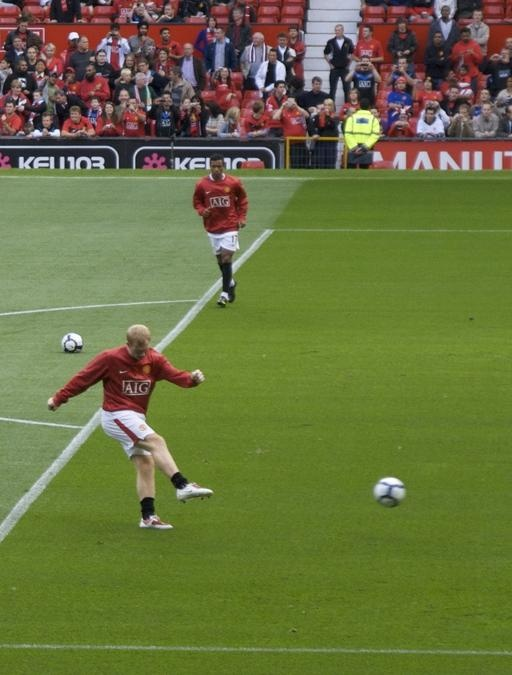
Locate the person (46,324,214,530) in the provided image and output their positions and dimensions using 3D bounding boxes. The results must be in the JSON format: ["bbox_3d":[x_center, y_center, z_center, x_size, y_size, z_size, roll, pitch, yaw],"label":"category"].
[{"bbox_3d":[-0.909,0.699,11.527,1.154,1.628,0.602,1,14,7],"label":"person"}]

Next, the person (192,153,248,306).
[{"bbox_3d":[-0.442,-1.285,18.877,0.622,1.996,1.105,-1,13,-2],"label":"person"}]

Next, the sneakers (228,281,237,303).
[{"bbox_3d":[-0.307,-0.591,19.527,0.084,0.244,0.106,5,-1,-1],"label":"sneakers"}]

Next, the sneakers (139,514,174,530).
[{"bbox_3d":[-0.770,1.390,11.796,0.283,0.109,0.102,1,3,5],"label":"sneakers"}]

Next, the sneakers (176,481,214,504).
[{"bbox_3d":[-0.500,1.134,11.388,0.347,0.182,0.126,-6,0,13],"label":"sneakers"}]

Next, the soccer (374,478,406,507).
[{"bbox_3d":[1.003,1.156,11.786,0.219,0.214,0.217,10,33,15],"label":"soccer"}]
